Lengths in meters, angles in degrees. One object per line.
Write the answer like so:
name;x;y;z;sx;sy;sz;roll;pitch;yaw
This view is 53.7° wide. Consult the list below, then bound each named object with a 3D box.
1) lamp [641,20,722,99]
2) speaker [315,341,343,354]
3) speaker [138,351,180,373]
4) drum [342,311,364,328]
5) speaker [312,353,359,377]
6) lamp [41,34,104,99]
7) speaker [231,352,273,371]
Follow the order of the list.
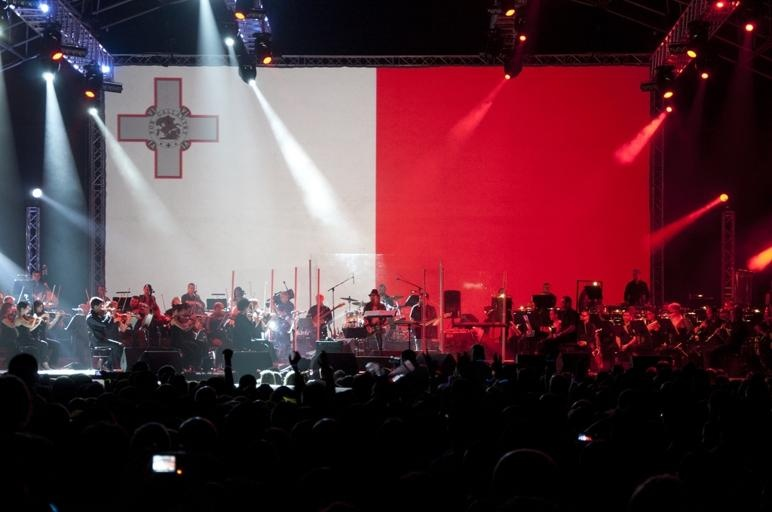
lamp;7.989;-5.237;20.967;1.153;1.192;3.237;-1;-11;1
speaker;-1.342;2.091;17.969;0.674;0.464;0.703;0;-5;2
speaker;-5.109;2.305;17.318;0.937;0.658;0.743;0;-7;-6
drum;-0.933;1.792;21.671;0.457;0.424;0.459;-2;-15;10
speaker;-0.980;2.112;14.966;0.884;0.593;0.475;-1;-7;8
lamp;-8.377;-5.166;20.552;0.877;1.213;2.724;0;-11;-6
speaker;-3.035;2.333;17.182;0.746;0.479;0.524;0;-2;-4
